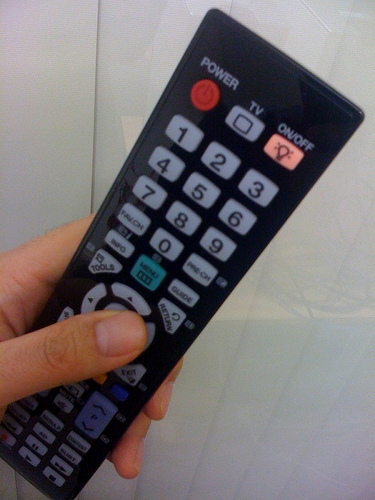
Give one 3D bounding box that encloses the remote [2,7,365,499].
[{"bbox_3d":[-0.039,0.031,0.369,0.133,0.365,0.211,35,44,9],"label":"remote"}]
